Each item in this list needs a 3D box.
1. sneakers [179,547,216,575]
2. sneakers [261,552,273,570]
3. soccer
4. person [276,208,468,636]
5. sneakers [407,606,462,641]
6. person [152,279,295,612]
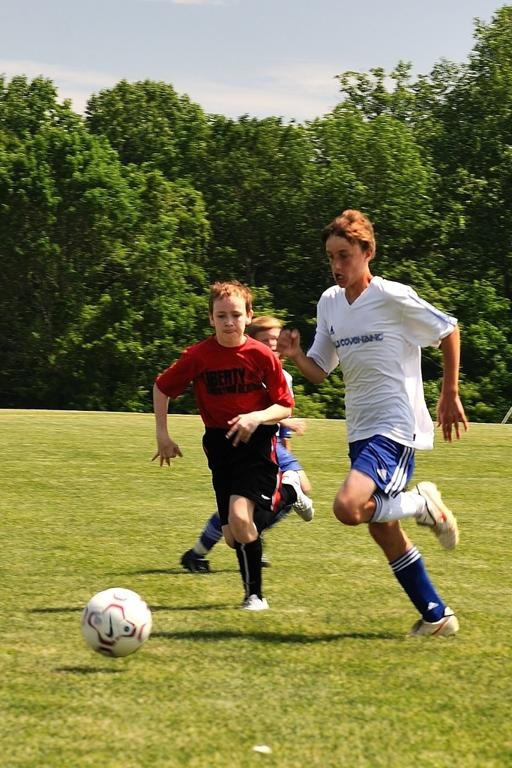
[{"bbox_3d":[-0.338,0.984,4.237,0.214,0.119,0.101,13,3,-1],"label":"sneakers"},{"bbox_3d":[0.065,1.009,4.362,0.062,0.050,0.182,-4,-15,3],"label":"sneakers"},{"bbox_3d":[-0.554,0.910,2.889,0.287,0.266,0.244,2,-21,-12],"label":"soccer"},{"bbox_3d":[0.544,0.109,3.400,0.814,1.872,0.822,-2,5,-9],"label":"person"},{"bbox_3d":[0.744,0.995,3.122,0.264,0.104,0.087,-9,-20,10],"label":"sneakers"},{"bbox_3d":[-0.151,0.288,3.530,0.638,1.541,0.524,-1,5,2],"label":"person"}]
